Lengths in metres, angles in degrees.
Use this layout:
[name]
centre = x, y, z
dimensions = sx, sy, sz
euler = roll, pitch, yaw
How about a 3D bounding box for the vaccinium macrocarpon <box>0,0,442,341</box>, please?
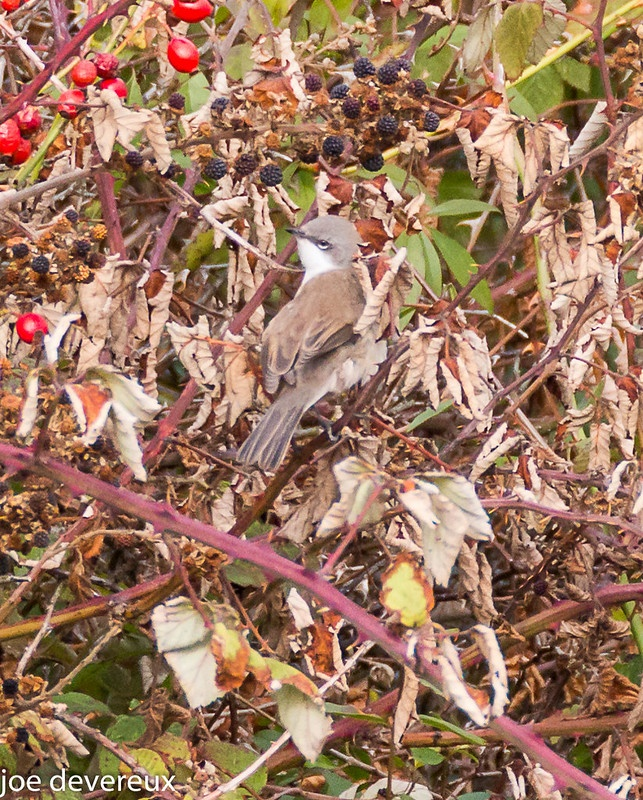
[vaccinium macrocarpon]
centre = -0.360, -0.709, 2.561
dimensions = 1.045, 0.773, 0.400
euler = -24, 56, 9
